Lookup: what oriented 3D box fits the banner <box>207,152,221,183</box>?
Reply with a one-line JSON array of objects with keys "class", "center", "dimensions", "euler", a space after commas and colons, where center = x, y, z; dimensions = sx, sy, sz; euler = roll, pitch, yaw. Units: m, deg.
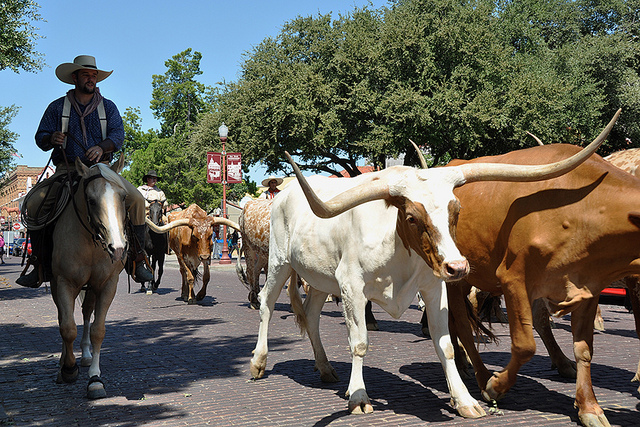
[{"class": "banner", "center": [-5.089, -2.289, 25.931], "dimensions": [0.802, 1.360, 0.467], "euler": [-1, 0, -35]}]

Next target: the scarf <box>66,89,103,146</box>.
[{"class": "scarf", "center": [-3.679, -1.524, 8.421], "dimensions": [0.504, 0.930, 0.179], "euler": [-1, 0, -23]}]

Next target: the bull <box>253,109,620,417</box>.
[{"class": "bull", "center": [0.501, 0.897, 7.273], "dimensions": [3.383, 3.139, 5.567], "euler": [-2, -3, -26]}]

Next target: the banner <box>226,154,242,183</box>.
[{"class": "banner", "center": [-4.123, -2.225, 25.712], "dimensions": [0.716, 1.254, 0.602], "euler": [-1, 0, -20]}]
